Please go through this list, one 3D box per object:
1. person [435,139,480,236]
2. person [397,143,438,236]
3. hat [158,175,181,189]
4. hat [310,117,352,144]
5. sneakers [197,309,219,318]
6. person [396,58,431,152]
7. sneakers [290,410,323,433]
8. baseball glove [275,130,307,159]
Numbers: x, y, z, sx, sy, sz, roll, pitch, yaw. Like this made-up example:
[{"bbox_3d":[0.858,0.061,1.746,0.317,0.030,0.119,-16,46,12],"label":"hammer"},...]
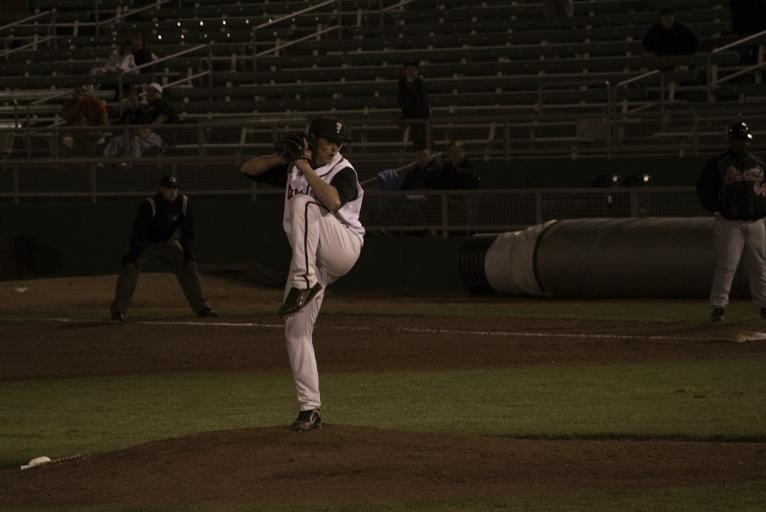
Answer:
[{"bbox_3d":[1.544,-1.388,32.470,0.819,1.860,0.667,1,6,7],"label":"person"},{"bbox_3d":[0.736,-1.325,32.513,0.871,1.715,0.492,1,6,7],"label":"person"},{"bbox_3d":[-3.796,-1.266,27.953,0.388,0.175,0.275,-7,0,29],"label":"hat"},{"bbox_3d":[-0.709,-1.768,22.698,0.501,0.218,0.356,13,8,21],"label":"hat"},{"bbox_3d":[-3.111,1.017,28.514,0.431,0.157,0.136,-1,0,8],"label":"sneakers"},{"bbox_3d":[0.692,-3.182,34.024,0.684,1.845,0.912,0,6,0],"label":"person"},{"bbox_3d":[-1.050,2.303,22.549,0.455,0.166,0.220,0,-2,-24],"label":"sneakers"},{"bbox_3d":[-1.282,-1.540,22.666,0.441,0.383,0.353,1,6,6],"label":"baseball glove"}]
